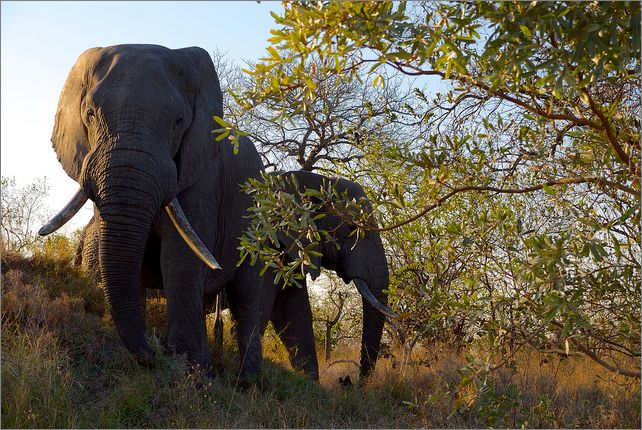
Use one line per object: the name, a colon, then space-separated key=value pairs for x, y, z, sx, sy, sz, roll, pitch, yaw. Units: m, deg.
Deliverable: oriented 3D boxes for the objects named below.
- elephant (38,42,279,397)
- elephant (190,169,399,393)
elephant: x=-2.221 y=0.075 z=7.579 sx=1.955 sy=3.965 sz=4.245 roll=0 pitch=-4 yaw=-8
elephant: x=-0.614 y=1.077 z=9.557 sx=4.498 sy=3.201 sz=2.331 roll=0 pitch=-6 yaw=21
